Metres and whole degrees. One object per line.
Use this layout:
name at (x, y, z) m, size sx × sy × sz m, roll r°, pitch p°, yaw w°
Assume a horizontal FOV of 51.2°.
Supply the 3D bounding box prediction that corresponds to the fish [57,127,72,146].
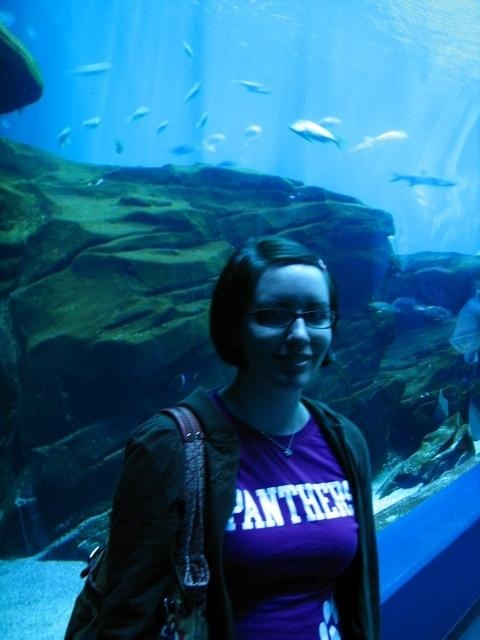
fish at (-1.088, -1.153, 3.145) m, size 0.059 × 0.105 × 0.104 m, roll -4°, pitch 3°, yaw 31°

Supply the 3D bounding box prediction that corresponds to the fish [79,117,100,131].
fish at (-0.972, -1.288, 3.276) m, size 0.122 × 0.070 × 0.056 m, roll -6°, pitch 3°, yaw -34°

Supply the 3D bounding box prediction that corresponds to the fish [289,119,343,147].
fish at (0.702, -1.735, 4.651) m, size 0.353 × 0.154 × 0.639 m, roll -4°, pitch 2°, yaw 16°
